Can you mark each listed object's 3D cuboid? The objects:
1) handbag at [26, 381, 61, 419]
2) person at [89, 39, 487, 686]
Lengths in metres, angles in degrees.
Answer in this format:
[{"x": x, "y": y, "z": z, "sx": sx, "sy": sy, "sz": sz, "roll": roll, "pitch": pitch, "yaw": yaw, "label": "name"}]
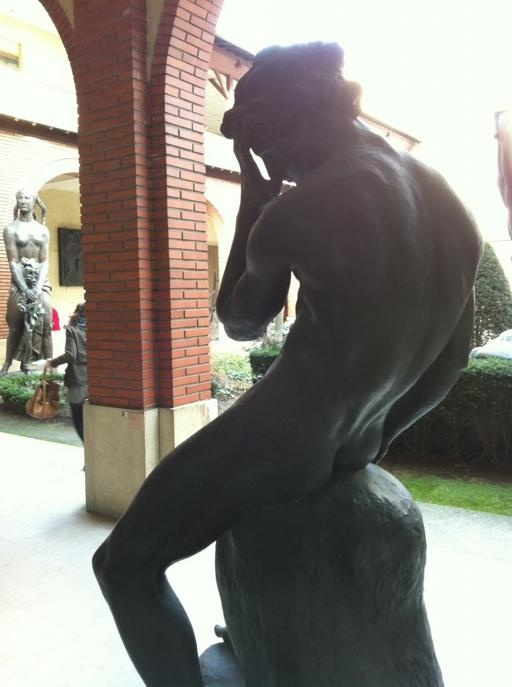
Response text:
[{"x": -1.889, "y": 0.496, "z": 5.588, "sx": 0.243, "sy": 0.252, "sz": 0.259, "roll": -2, "pitch": 2, "yaw": -38, "label": "handbag"}, {"x": 0.079, "y": 0.074, "z": 1.220, "sx": 0.745, "sy": 1.255, "sz": 0.386, "roll": -2, "pitch": 1, "yaw": -17, "label": "person"}]
